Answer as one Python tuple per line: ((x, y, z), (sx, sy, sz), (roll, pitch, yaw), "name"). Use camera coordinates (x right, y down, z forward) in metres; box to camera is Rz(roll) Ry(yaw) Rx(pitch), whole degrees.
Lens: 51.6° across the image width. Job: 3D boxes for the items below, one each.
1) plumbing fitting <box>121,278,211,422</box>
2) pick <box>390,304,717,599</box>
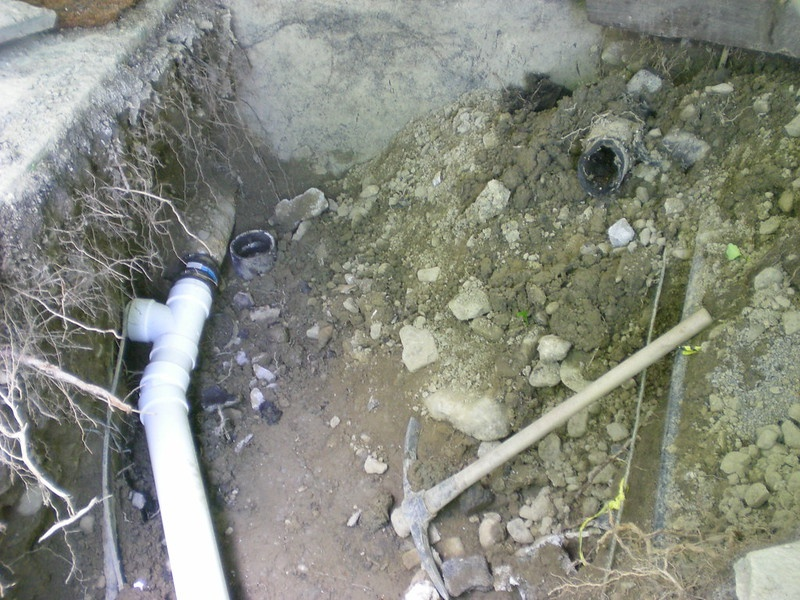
((-1.834, 0.465, 6.510), (0.621, 1.490, 0.378), (4, 21, -27), "plumbing fitting")
((0.950, 0.928, 5.639), (2.395, 1.564, 0.213), (-32, -6, 12), "pick")
